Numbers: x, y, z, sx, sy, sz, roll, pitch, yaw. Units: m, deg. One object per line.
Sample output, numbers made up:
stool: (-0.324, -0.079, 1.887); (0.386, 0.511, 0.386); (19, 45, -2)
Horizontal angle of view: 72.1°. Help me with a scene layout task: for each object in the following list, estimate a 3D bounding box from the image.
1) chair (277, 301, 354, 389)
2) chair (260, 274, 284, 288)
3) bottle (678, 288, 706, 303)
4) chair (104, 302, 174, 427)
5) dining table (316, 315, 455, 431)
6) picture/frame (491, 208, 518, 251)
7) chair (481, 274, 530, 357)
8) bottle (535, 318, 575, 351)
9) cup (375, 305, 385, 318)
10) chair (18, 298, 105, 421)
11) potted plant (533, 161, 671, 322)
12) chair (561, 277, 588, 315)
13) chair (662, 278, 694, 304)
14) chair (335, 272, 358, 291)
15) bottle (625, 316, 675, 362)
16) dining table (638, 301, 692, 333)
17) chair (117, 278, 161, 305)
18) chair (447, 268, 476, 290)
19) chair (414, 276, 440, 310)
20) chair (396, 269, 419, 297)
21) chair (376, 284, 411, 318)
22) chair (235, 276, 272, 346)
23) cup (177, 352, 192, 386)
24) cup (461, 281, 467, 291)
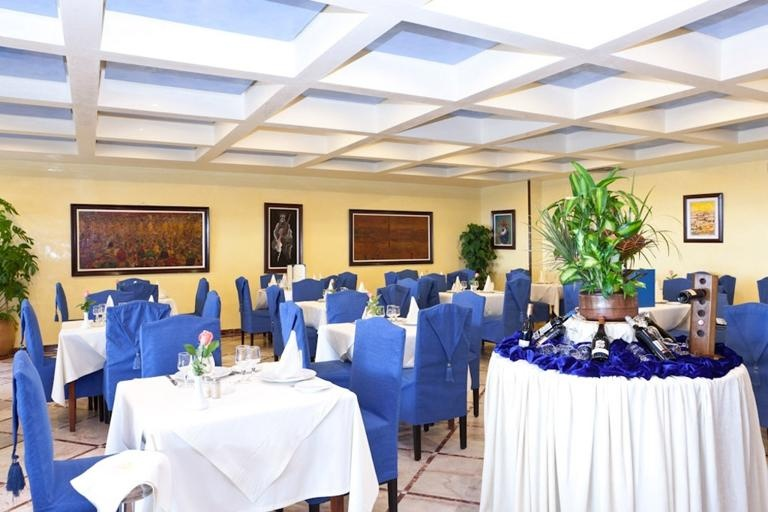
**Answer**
chair: (-0.739, 0.994, 5.529); (0.670, 0.915, 0.637); (5, -10, -15)
chair: (-2.221, 0.472, 10.386); (0.327, 0.432, 0.352); (1, -2, -17)
bottle: (2.152, 0.281, 3.747); (0.196, 0.106, 0.158); (0, -2, -15)
chair: (-2.404, 1.138, 5.545); (0.884, 1.209, 0.853); (2, -11, -17)
dining table: (0.004, 1.091, 5.898); (1.352, 0.675, 1.327); (-1, 2, -31)
picture/frame: (2.905, -0.635, 12.864); (0.850, 0.932, 0.039); (-4, 6, -36)
chair: (1.874, 0.911, 8.164); (0.841, 1.125, 0.820); (0, 3, 6)
bottle: (1.281, 0.589, 3.925); (0.367, 0.108, 0.110); (-34, -9, 2)
cup: (-0.050, 0.644, 6.015); (0.148, 0.107, 0.145); (2, 2, 0)
chair: (-3.602, 1.104, 5.860); (0.951, 1.176, 0.933); (-3, -3, 11)
potted plant: (1.559, -0.124, 3.917); (0.673, 1.185, 0.496); (-1, -1, 17)
chair: (3.088, 0.653, 8.343); (0.416, 0.537, 0.409); (1, 2, 23)
chair: (3.925, 0.463, 7.067); (0.300, 0.399, 0.423); (-3, 4, -39)
chair: (-0.713, 0.465, 9.940); (0.313, 0.419, 0.341); (0, -6, 2)
bottle: (1.833, 0.567, 3.652); (0.127, 0.183, 0.345); (-25, 54, -32)
dining table: (3.163, 0.683, 5.912); (0.632, 0.218, 0.620); (-1, 4, -24)
chair: (-3.643, 0.522, 7.765); (0.308, 0.386, 0.311); (4, 6, -6)
chair: (1.561, 0.456, 10.534); (0.434, 0.520, 0.423); (1, 2, -23)
chair: (0.682, 0.576, 8.876); (0.389, 0.492, 0.427); (-12, 10, -12)
chair: (0.429, 0.541, 9.804); (0.418, 0.703, 0.417); (1, 4, -6)
chair: (0.228, 0.721, 8.547); (0.616, 0.715, 0.660); (0, 14, 3)
chair: (-2.213, 0.945, 9.183); (0.695, 1.011, 0.616); (5, -1, -33)
cup: (-1.465, 0.840, 3.872); (0.101, 0.202, 0.098); (4, -13, 1)
cup: (1.525, 0.570, 10.061); (0.126, 0.201, 0.128); (1, 6, 0)
